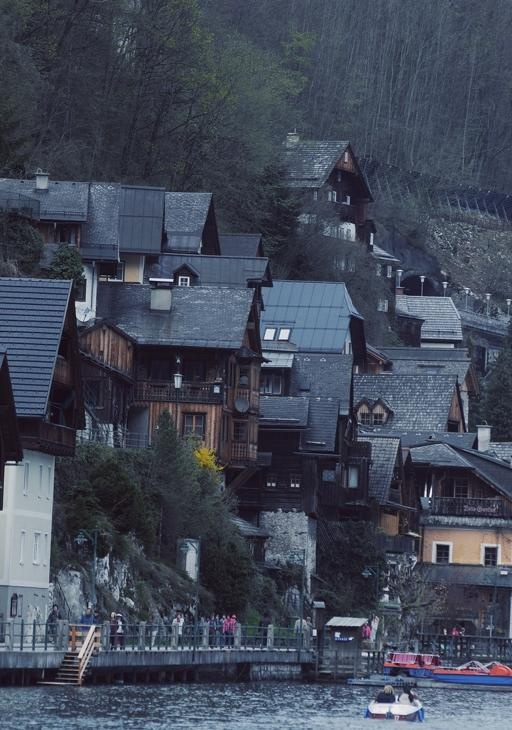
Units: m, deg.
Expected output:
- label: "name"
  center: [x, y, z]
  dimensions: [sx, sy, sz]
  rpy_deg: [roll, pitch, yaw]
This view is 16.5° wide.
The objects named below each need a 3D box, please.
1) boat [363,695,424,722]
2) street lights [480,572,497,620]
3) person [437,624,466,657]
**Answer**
- label: "boat"
  center: [3.717, 9.109, 46.259]
  dimensions: [1.651, 0.460, 0.828]
  rpy_deg: [8, -7, -31]
- label: "street lights"
  center: [10.541, 10.502, 79.383]
  dimensions: [0.818, 2.253, 0.879]
  rpy_deg: [2, -4, 9]
- label: "person"
  center: [7.823, 11.053, 70.265]
  dimensions: [0.693, 1.473, 0.369]
  rpy_deg: [-3, 6, -13]
